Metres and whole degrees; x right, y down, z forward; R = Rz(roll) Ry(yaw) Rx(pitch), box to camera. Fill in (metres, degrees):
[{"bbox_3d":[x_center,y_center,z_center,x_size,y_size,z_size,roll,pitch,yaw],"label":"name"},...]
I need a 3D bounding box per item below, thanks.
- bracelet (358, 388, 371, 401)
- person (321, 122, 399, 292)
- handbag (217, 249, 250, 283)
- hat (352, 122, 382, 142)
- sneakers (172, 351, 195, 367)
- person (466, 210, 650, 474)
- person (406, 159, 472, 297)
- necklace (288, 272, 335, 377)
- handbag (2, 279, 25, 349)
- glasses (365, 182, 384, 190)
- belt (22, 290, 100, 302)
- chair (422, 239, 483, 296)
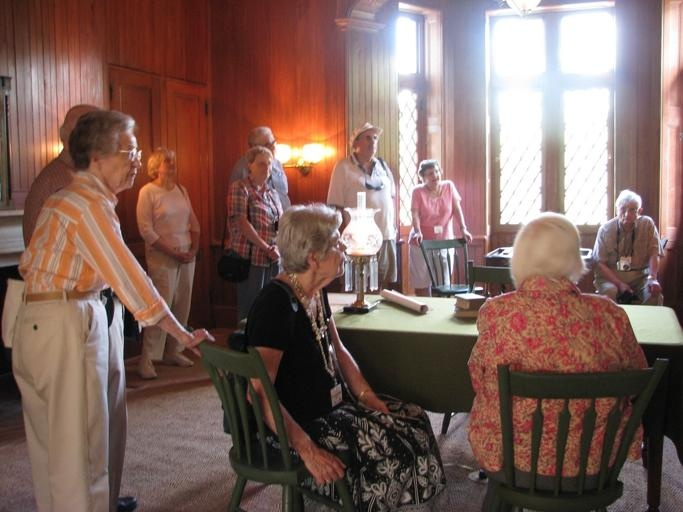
[{"bbox_3d":[0.097,0.636,2.803,0.041,0.010,0.045,-25,33,40],"label":"bracelet"},{"bbox_3d":[0.237,-0.306,5.572,0.633,1.742,0.469,-8,18,-14],"label":"person"},{"bbox_3d":[-0.807,0.037,4.668,0.223,0.269,0.215,10,6,19],"label":"handbag"},{"bbox_3d":[0.209,-1.105,5.455,0.192,0.107,0.269,-16,-19,-44],"label":"hat"},{"bbox_3d":[-1.382,0.897,5.348,0.176,0.217,0.095,1,11,3],"label":"sneakers"},{"bbox_3d":[0.778,0.314,2.513,0.536,1.038,0.550,1,28,3],"label":"person"},{"bbox_3d":[0.912,-0.136,6.177,0.650,1.570,0.686,-18,28,-31],"label":"person"},{"bbox_3d":[-0.112,0.295,2.682,0.063,0.438,0.237,-7,7,17],"label":"necklace"},{"bbox_3d":[-1.457,0.260,2.695,0.069,0.265,0.171,3,0,-29],"label":"handbag"},{"bbox_3d":[0.285,-0.612,5.391,0.184,0.082,0.039,-10,12,-38],"label":"glasses"},{"bbox_3d":[-1.195,0.170,2.595,0.287,0.048,0.083,-4,11,-17],"label":"belt"},{"bbox_3d":[0.981,0.097,5.762,0.406,0.836,0.527,-2,0,-15],"label":"chair"}]
